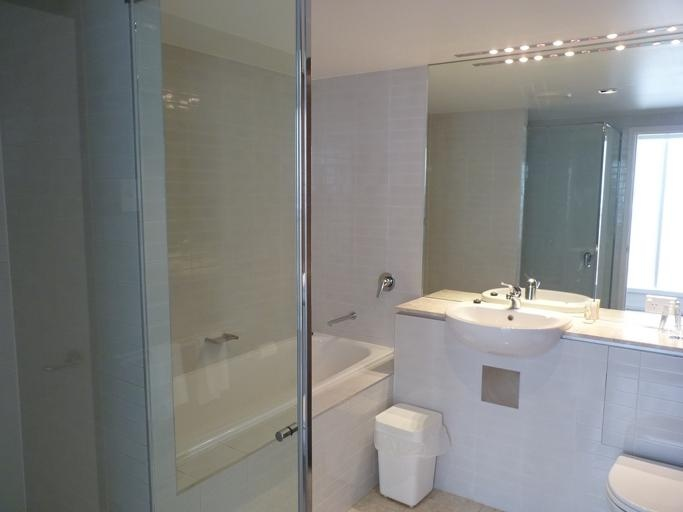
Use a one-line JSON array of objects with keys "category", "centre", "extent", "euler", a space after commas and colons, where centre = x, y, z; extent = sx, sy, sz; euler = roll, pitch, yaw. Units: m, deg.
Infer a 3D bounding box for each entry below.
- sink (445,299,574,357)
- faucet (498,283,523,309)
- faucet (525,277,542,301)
[{"category": "sink", "centre": [0.894, 0.400, 2.897], "extent": [0.627, 0.185, 0.524], "euler": [7, 10, 37]}, {"category": "faucet", "centre": [1.014, 0.235, 3.127], "extent": [0.084, 0.184, 0.134], "euler": [-3, 5, -37]}, {"category": "faucet", "centre": [1.122, 0.197, 3.071], "extent": [0.073, 0.127, 0.124], "euler": [2, 1, 38]}]
